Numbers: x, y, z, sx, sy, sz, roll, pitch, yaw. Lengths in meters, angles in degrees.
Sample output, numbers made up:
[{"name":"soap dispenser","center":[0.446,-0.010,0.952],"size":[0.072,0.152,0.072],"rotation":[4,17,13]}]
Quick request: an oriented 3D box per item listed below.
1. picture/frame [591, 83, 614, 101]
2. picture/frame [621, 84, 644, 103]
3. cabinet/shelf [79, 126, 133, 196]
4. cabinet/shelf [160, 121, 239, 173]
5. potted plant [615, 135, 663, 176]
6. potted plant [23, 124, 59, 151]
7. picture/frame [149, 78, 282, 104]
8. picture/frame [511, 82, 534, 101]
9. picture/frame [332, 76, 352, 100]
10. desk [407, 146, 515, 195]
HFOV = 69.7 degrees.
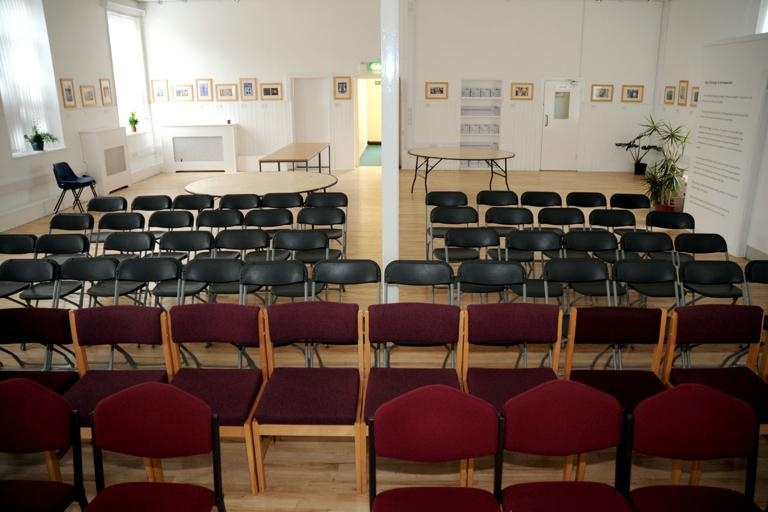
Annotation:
[{"name":"picture/frame","center":[5.925,-4.464,14.985],"size":[0.498,0.394,0.037],"rotation":[0,15,3]},{"name":"picture/frame","center":[6.713,-4.416,14.924],"size":[0.499,0.398,0.038],"rotation":[-1,13,1]},{"name":"cabinet/shelf","center":[-6.542,-2.207,12.915],"size":[0.562,1.548,1.689],"rotation":[-5,18,5]},{"name":"cabinet/shelf","center":[-5.181,-3.159,16.045],"size":[2.293,1.572,1.257],"rotation":[1,17,0]},{"name":"potted plant","center":[6.918,-2.744,15.099],"size":[1.181,0.808,1.101],"rotation":[0,8,6]},{"name":"potted plant","center":[-7.114,-2.429,11.453],"size":[0.551,0.361,0.530],"rotation":[-3,7,-28]},{"name":"picture/frame","center":[-4.700,-4.660,15.556],"size":[3.702,0.630,0.212],"rotation":[1,16,3]},{"name":"picture/frame","center":[3.761,-4.532,15.096],"size":[0.460,0.333,0.035],"rotation":[0,13,-1]},{"name":"picture/frame","center":[-1.172,-4.773,15.544],"size":[0.656,0.759,0.051],"rotation":[0,14,-1]},{"name":"desk","center":[1.737,-2.061,12.666],"size":[2.530,0.875,1.765],"rotation":[6,-6,24]}]
